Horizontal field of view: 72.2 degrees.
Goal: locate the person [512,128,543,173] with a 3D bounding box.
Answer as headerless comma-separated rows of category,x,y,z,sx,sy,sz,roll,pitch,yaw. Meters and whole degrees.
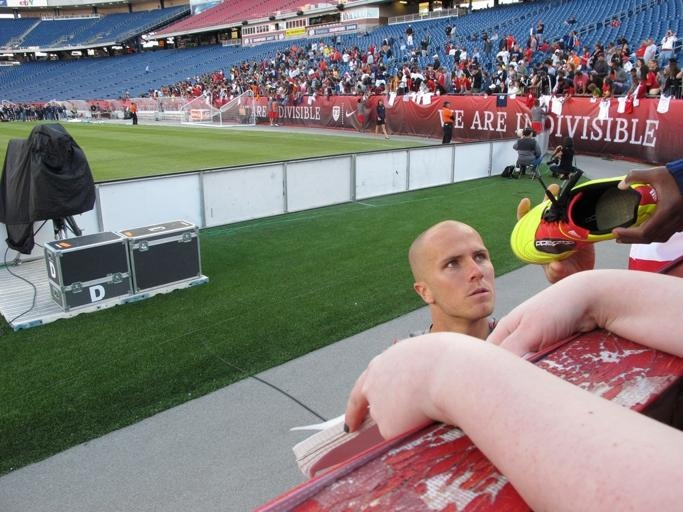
person,5.286,-2.892,13.323,0.730,1.298,1.743,4,19,22

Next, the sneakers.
sneakers,0.873,-0.108,1.719,0.244,0.223,0.565,5,-17,-30

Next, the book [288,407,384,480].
book,0.015,0.532,1.356,0.268,0.068,0.271,-18,-2,-30
